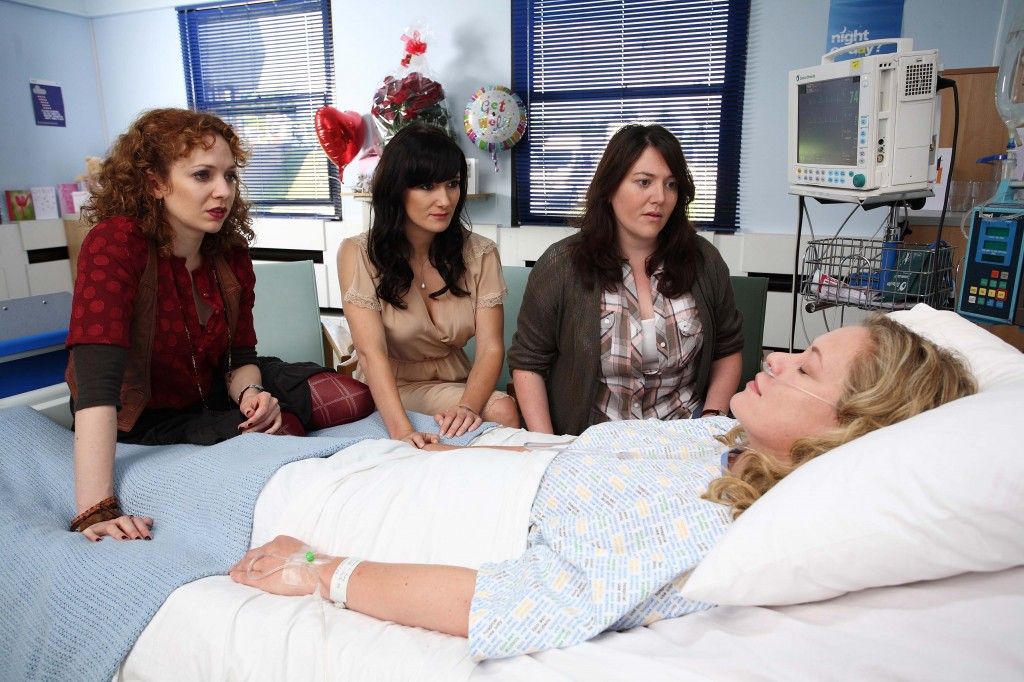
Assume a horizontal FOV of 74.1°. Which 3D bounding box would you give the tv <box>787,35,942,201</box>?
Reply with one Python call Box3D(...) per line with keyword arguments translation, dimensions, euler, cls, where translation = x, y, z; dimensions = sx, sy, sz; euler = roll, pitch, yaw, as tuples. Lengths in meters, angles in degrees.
Box3D(translation=(1.387, -0.868, 2.680), dimensions=(0.329, 0.555, 0.553), euler=(-8, 16, -15), cls="tv")
